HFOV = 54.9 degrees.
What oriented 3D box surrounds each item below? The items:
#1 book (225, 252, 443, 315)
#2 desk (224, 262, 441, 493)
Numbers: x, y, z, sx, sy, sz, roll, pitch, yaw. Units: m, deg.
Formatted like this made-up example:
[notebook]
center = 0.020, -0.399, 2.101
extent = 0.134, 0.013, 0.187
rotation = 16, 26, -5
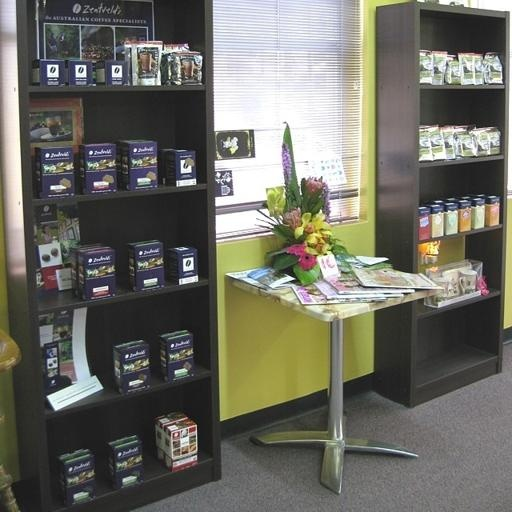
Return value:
[book]
center = 0.380, 0.144, 2.333
extent = 0.792, 0.300, 0.717
rotation = -7, 11, -32
[desk]
center = 0.388, 0.546, 2.384
extent = 0.910, 0.747, 1.000
rotation = 1, 3, 39
